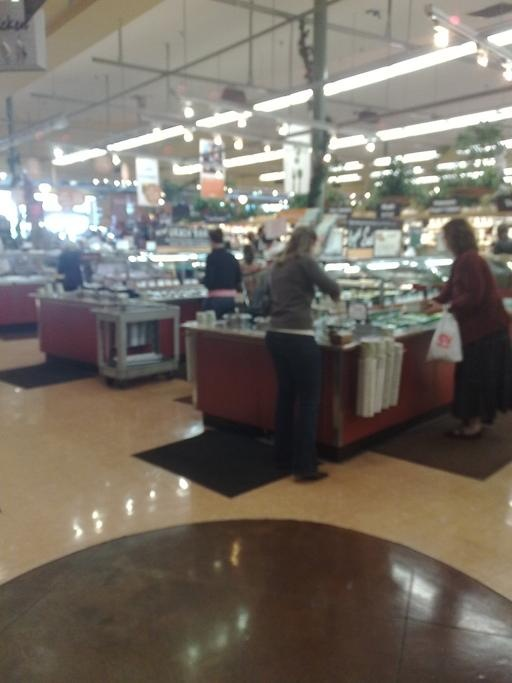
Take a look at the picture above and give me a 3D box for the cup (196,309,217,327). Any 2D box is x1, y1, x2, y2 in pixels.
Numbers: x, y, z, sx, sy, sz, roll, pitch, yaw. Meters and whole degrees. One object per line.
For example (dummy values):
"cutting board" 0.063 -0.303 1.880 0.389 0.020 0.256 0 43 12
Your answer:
"cup" -0.446 -0.192 4.778 0.150 0.149 0.154 0 3 0

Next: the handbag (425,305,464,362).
"handbag" 1.387 -0.029 4.157 0.250 0.403 0.197 3 9 18

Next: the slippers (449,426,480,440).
"slippers" 1.633 0.715 4.424 0.233 0.071 0.090 5 1 11

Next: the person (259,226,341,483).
"person" 0.260 0.081 3.590 0.454 1.577 0.296 8 12 44
